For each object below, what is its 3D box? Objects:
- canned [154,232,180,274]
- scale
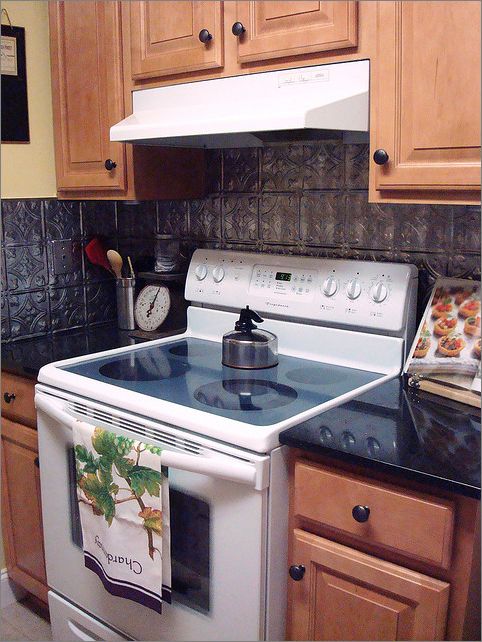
[{"bbox_3d":[-0.257,-0.232,1.770,0.101,0.180,0.108,-1,11,-7],"label":"canned"},{"bbox_3d":[-0.278,-0.081,1.769,0.148,0.241,0.137,16,21,39],"label":"scale"}]
